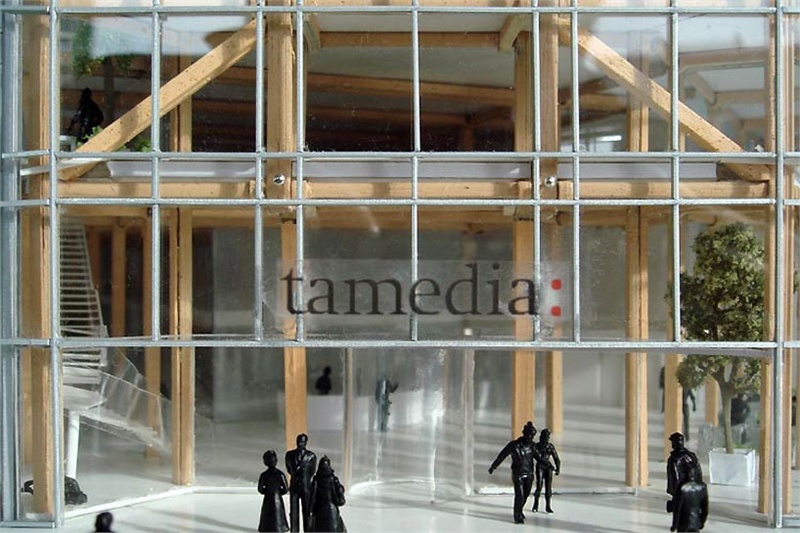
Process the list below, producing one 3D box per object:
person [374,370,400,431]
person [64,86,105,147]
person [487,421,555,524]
[{"bbox_3d":[-0.298,2.861,35.395,0.477,1.171,0.116,0,-9,-1],"label":"person"},{"bbox_3d":[-6.496,-3.090,34.803,0.763,1.139,0.334,3,-10,-18],"label":"person"},{"bbox_3d":[2.515,4.130,34.231,1.078,2.055,0.933,-5,-10,25],"label":"person"}]
